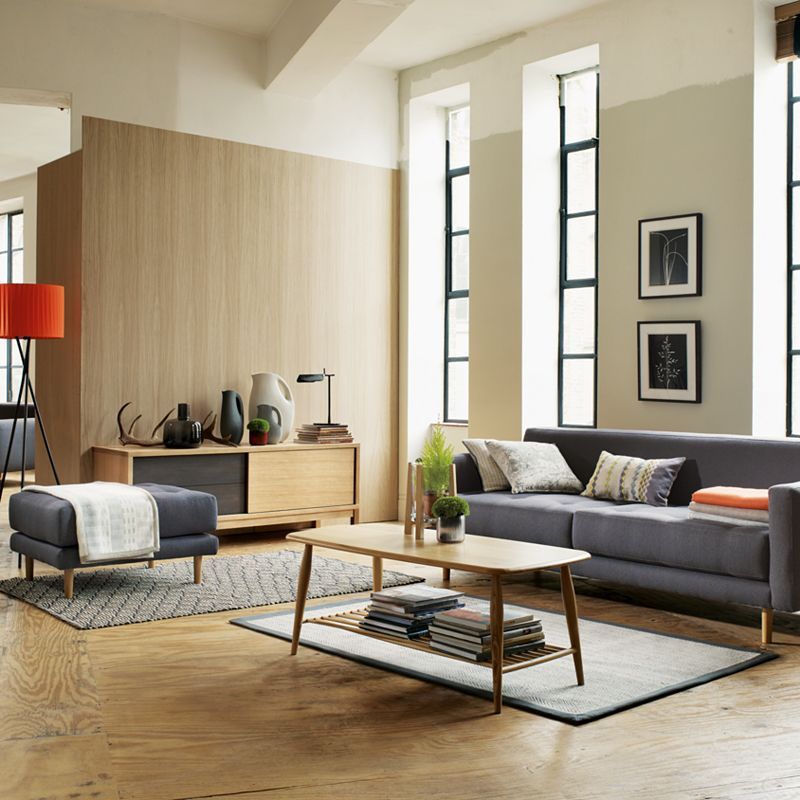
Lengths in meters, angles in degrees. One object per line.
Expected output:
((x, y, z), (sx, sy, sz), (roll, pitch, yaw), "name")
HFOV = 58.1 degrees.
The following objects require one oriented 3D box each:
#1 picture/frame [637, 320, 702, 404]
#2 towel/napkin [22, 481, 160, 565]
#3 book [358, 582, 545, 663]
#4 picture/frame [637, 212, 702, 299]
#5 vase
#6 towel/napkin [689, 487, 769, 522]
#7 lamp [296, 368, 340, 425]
((1.809, -0.258, 4.781), (0.067, 0.708, 0.514), (-1, 1, -38), "picture/frame")
((-1.555, 0.645, 3.836), (0.507, 0.370, 0.521), (3, -5, -35), "towel/napkin")
((0.171, 0.788, 2.578), (0.345, 0.149, 0.652), (4, -6, -45), "book")
((1.814, -0.960, 4.791), (0.052, 0.765, 0.578), (1, -1, -36), "picture/frame")
((-1.190, 0.083, 5.463), (0.716, 0.737, 0.482), (-5, -6, -4), "vase")
((1.602, 0.484, 3.350), (0.252, 0.138, 0.427), (2, -4, -24), "towel/napkin")
((-0.671, -0.040, 5.914), (0.317, 0.483, 0.494), (1, -4, -6), "lamp")
